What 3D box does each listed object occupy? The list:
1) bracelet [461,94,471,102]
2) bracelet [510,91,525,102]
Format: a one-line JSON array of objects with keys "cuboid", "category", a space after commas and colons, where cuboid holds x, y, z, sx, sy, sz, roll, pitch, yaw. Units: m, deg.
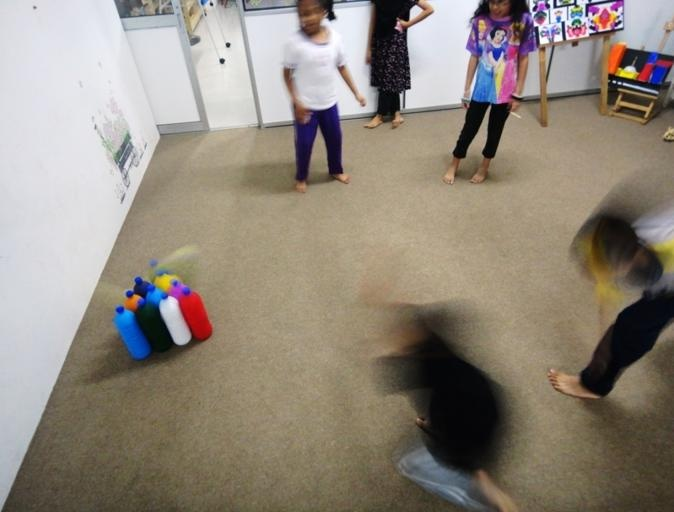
[{"cuboid": [1.024, -1.260, 4.038, 0.043, 0.055, 0.048, -2, 3, 11], "category": "bracelet"}, {"cuboid": [1.385, -1.224, 3.862, 0.066, 0.069, 0.028, 23, 68, 18], "category": "bracelet"}]
